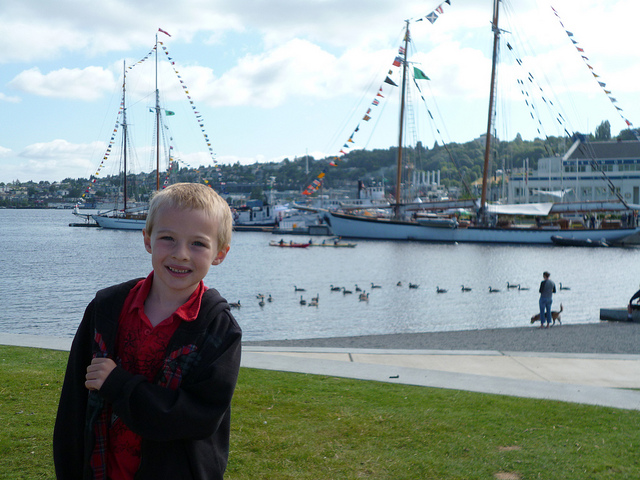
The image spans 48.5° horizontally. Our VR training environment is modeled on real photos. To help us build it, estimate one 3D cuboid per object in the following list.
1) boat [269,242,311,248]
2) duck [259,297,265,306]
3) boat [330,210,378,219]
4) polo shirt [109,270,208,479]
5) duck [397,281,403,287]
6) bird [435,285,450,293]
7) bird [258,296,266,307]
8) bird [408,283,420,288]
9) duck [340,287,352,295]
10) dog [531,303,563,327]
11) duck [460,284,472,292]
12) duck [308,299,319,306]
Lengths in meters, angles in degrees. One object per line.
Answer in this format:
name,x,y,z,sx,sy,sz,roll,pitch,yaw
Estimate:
boat,-2.450,0.505,65.504,4.363,0.442,1.561,2,0,40
duck,-2.157,2.297,26.413,0.228,0.419,0.389,1,-2,0
boat,3.665,-2.648,76.429,5.279,0.828,1.015,11,5,35
polo shirt,-1.290,1.066,5.573,0.625,1.577,0.322,1,1,13
duck,3.609,1.985,31.565,0.122,0.226,0.210,0,-3,-2
bird,5.151,2.063,29.518,0.564,0.415,0.223,5,-5,-38
bird,-2.061,2.306,26.055,0.284,0.441,0.287,1,0,-29
bird,4.109,2.053,31.140,0.230,0.143,0.388,-19,16,-33
duck,1.176,2.123,29.399,0.375,0.252,0.593,2,0,0
dog,6.372,2.069,19.487,0.619,0.437,1.894,2,0,34
duck,6.140,2.018,29.474,0.428,0.321,0.239,4,-2,-27
duck,-0.201,2.303,25.976,0.324,0.203,0.413,2,0,-1
